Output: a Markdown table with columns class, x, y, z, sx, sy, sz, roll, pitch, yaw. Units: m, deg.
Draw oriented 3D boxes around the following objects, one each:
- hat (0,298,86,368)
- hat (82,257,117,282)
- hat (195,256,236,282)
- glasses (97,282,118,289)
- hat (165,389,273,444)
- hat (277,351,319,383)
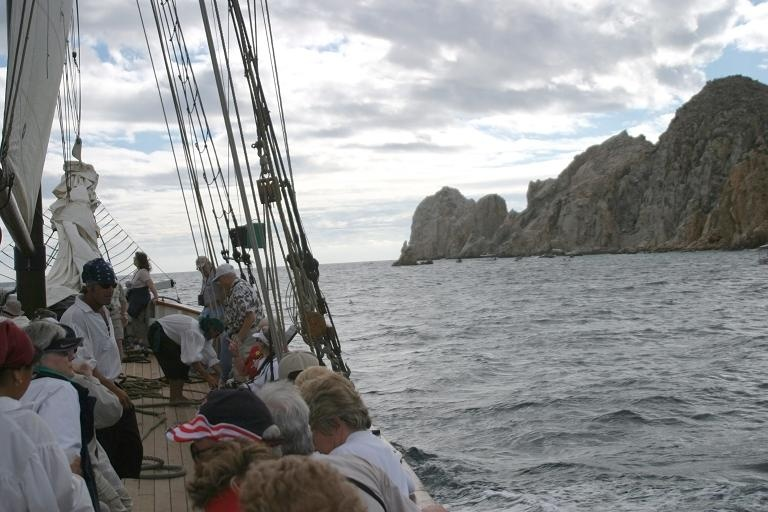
| class | x | y | z | sx | sy | sz | roll | pitch | yaw |
| --- | --- | --- | --- | --- | --- | --- | --- | --- | --- |
| hat | -2.108 | 0.505 | 3.513 | 0.422 | 0.154 | 0.287 | 2 | 4 | -40 |
| hat | -2.354 | 0.117 | 4.739 | 0.347 | 0.220 | 0.210 | 1 | 5 | 30 |
| hat | -1.930 | 0.139 | 6.506 | 0.487 | 0.216 | 0.310 | 8 | 14 | -6 |
| glasses | -2.304 | 0.235 | 4.755 | 0.085 | 0.061 | 0.148 | 0 | 4 | 15 |
| hat | -0.892 | 0.857 | 3.144 | 0.480 | 0.231 | 0.311 | 8 | -12 | 2 |
| hat | -0.693 | 0.867 | 4.564 | 0.306 | 0.183 | 0.377 | -2 | 4 | -14 |
